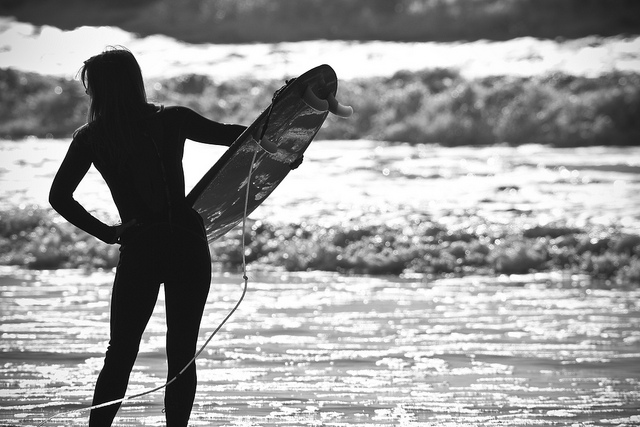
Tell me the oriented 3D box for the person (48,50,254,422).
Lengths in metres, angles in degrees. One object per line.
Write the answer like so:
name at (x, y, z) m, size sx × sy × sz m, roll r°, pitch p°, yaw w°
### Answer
person at (-1.401, 0.261, 10.946) m, size 1.269 × 2.879 × 1.024 m, roll 4°, pitch 21°, yaw 5°
